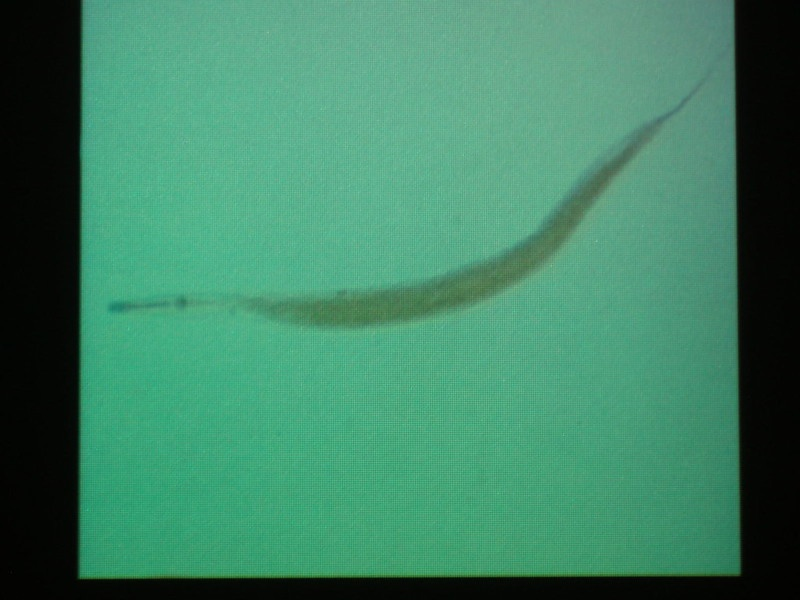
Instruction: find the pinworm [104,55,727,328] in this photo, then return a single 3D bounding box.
[{"bbox_3d":[0.094,-0.085,1.248,0.584,0.145,0.097,-18,-54,10],"label":"pinworm"}]
